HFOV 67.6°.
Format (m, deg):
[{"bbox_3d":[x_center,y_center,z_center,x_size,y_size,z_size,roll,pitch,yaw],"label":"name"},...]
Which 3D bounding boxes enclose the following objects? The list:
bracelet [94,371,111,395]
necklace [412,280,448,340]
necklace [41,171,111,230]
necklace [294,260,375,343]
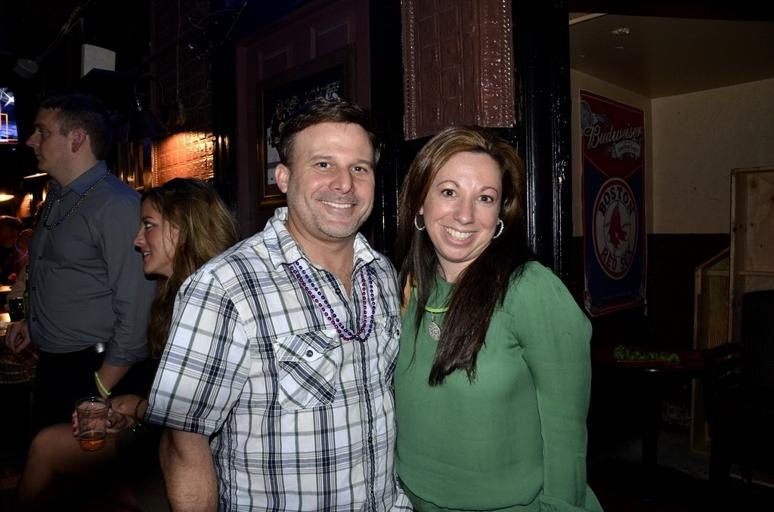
[{"bbox_3d":[-2.083,0.939,4.259,0.048,0.159,0.137,-8,-3,14],"label":"bracelet"},{"bbox_3d":[0.254,0.338,3.428,0.163,0.274,0.063,-4,-13,35],"label":"necklace"},{"bbox_3d":[-2.440,-0.454,4.465,0.381,0.517,0.093,19,-20,33],"label":"necklace"},{"bbox_3d":[-0.325,0.316,3.451,0.485,0.455,0.121,-11,-19,-39],"label":"necklace"}]
